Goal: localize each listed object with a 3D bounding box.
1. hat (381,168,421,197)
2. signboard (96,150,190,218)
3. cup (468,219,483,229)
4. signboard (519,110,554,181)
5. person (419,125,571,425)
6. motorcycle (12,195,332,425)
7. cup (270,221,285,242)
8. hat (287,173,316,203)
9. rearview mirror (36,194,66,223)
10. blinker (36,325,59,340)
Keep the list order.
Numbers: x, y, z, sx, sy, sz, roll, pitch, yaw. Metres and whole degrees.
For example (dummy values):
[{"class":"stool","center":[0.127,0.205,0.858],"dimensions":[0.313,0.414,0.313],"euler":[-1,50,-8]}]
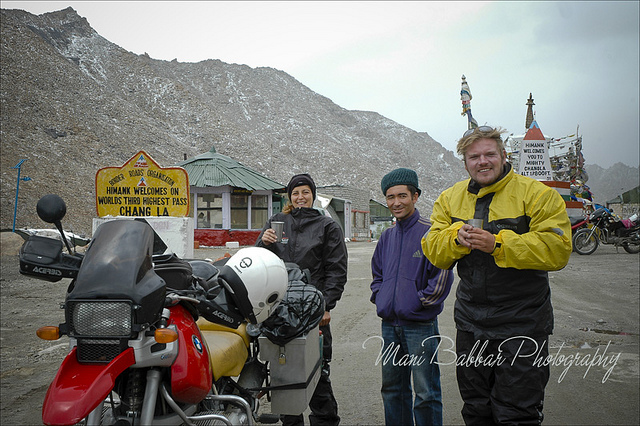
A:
[{"class":"hat","center":[0.985,-0.387,5.558],"dimensions":[0.426,0.223,0.362],"euler":[18,-25,-36]},{"class":"signboard","center":[-4.782,-0.785,12.772],"dimensions":[0.055,1.786,2.703],"euler":[1,3,41]},{"class":"cup","center":[1.469,0.101,4.392],"dimensions":[0.091,0.093,0.101],"euler":[2,3,16]},{"class":"signboard","center":[9.803,-2.872,21.306],"dimensions":[1.310,2.786,0.928],"euler":[0,-1,22]},{"class":"person","center":[1.694,0.575,4.492],"dimensions":[1.227,2.867,0.479],"euler":[0,-1,25]},{"class":"motorcycle","center":[-1.091,1.019,4.944],"dimensions":[1.894,1.793,3.063],"euler":[-5,-10,17]},{"class":"cup","center":[-0.496,0.207,5.576],"dimensions":[0.214,0.231,0.207],"euler":[0,-7,0]},{"class":"hat","center":[-0.209,-0.326,5.894],"dimensions":[0.367,0.348,0.298],"euler":[1,-2,-8]},{"class":"rearview mirror","center":[-2.325,-0.042,4.082],"dimensions":[0.213,0.242,0.222],"euler":[2,-2,-28]},{"class":"blinker","center":[-2.197,0.957,3.808],"dimensions":[0.172,0.101,0.121],"euler":[6,-4,-12]}]
